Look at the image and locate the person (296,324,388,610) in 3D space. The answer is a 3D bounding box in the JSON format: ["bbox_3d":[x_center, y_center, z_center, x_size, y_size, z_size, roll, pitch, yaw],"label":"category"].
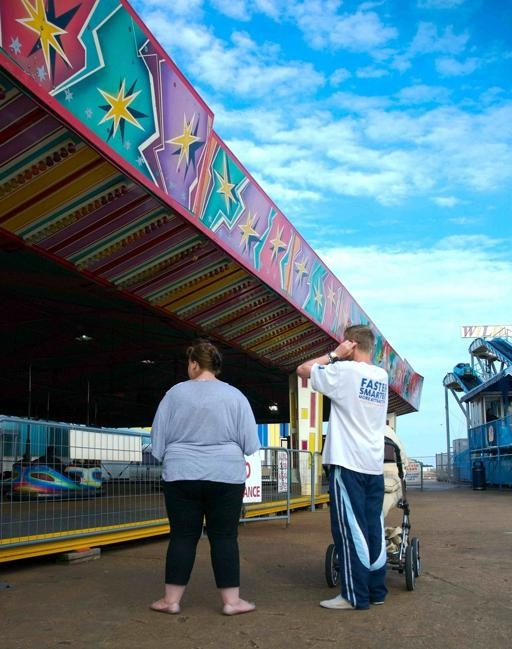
[{"bbox_3d":[0.558,0.796,3.535,0.540,1.628,0.351,8,-13,-37],"label":"person"}]

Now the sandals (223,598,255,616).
[{"bbox_3d":[-0.073,1.510,3.211,0.208,0.063,0.077,9,-14,-42],"label":"sandals"}]

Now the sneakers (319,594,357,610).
[{"bbox_3d":[0.458,1.537,3.342,0.183,0.071,0.065,0,-19,18],"label":"sneakers"}]

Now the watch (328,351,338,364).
[{"bbox_3d":[0.475,0.195,3.733,0.052,0.070,0.068,4,-12,-38],"label":"watch"}]

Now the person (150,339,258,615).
[{"bbox_3d":[-0.277,0.922,3.250,0.579,1.230,0.256,0,-10,0],"label":"person"}]

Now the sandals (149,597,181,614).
[{"bbox_3d":[-0.481,1.499,3.237,0.157,0.061,0.072,-1,-17,35],"label":"sandals"}]
